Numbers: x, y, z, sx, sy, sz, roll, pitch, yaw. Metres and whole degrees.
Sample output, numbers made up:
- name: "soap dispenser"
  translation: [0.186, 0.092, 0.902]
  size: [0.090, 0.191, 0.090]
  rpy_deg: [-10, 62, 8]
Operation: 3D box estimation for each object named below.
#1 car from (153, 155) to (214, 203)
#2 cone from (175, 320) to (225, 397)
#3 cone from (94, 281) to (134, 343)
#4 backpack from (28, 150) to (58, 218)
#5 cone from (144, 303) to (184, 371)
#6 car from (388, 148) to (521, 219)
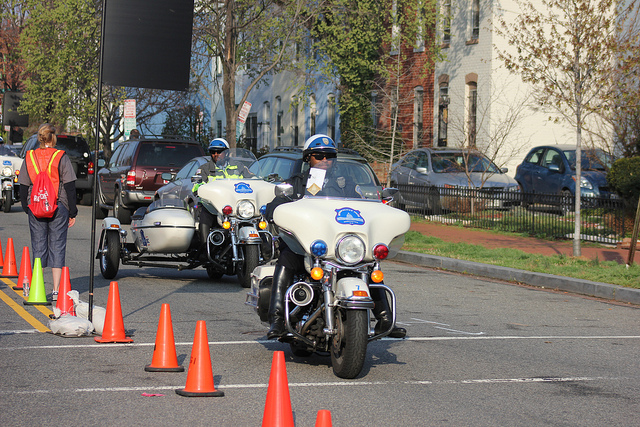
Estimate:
- name: "car"
  translation: [-3.307, -0.809, 20.806]
  size: [1.595, 1.307, 3.914]
  rpy_deg: [3, -2, -11]
- name: "cone"
  translation: [-1.510, 1.789, 10.846]
  size: [0.540, 0.971, 0.539]
  rpy_deg: [1, 2, -5]
- name: "cone"
  translation: [-2.970, 1.447, 12.507]
  size: [0.494, 0.904, 0.491]
  rpy_deg: [1, 2, -8]
- name: "backpack"
  translation: [-4.516, -0.477, 14.221]
  size: [0.488, 1.165, 0.465]
  rpy_deg: [3, -3, -26]
- name: "cone"
  translation: [-2.046, 1.642, 11.542]
  size: [0.575, 0.876, 0.632]
  rpy_deg: [3, -1, -31]
- name: "car"
  translation: [5.755, -0.947, 27.114]
  size: [2.279, 2.289, 5.546]
  rpy_deg: [0, 1, -14]
